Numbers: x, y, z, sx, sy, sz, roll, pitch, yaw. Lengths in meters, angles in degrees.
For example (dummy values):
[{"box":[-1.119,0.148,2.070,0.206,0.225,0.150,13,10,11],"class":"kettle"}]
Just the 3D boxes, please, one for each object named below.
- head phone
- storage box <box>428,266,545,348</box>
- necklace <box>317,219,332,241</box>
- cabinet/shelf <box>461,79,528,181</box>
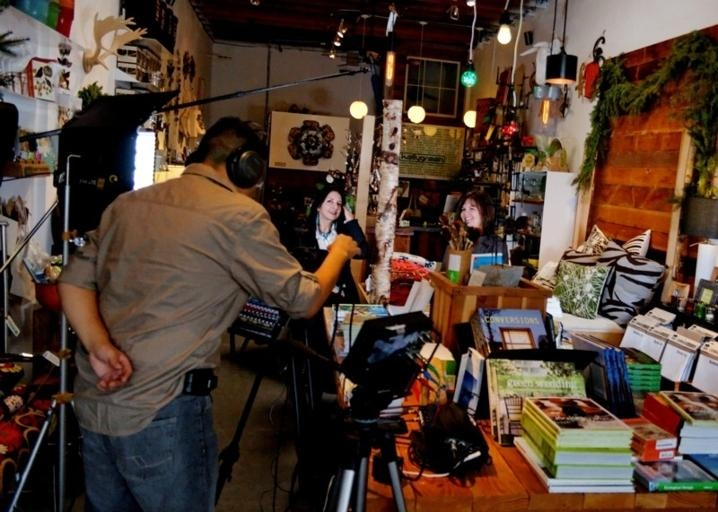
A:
[{"box":[-0.544,-0.361,2.357,0.367,0.169,0.302,-9,6,-8],"class":"head phone"},{"box":[0.683,0.223,2.939,0.446,0.275,0.437,2,9,-12],"class":"storage box"},{"box":[-0.343,-0.227,5.158,0.138,0.118,0.159,-1,11,2],"class":"necklace"},{"box":[2.083,-1.948,8.444,0.762,1.683,2.730,5,9,6],"class":"cabinet/shelf"}]
